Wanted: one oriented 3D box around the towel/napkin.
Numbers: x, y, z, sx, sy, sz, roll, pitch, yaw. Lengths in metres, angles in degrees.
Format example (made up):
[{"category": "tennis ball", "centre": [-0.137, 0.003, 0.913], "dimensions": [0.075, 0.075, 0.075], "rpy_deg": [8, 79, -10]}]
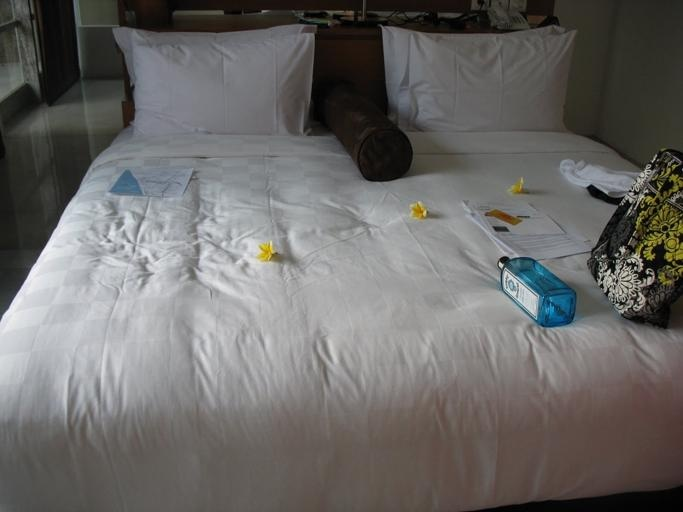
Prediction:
[{"category": "towel/napkin", "centre": [1.054, -0.332, 2.003], "dimensions": [0.195, 0.049, 0.259], "rpy_deg": [-19, 33, -25]}]
